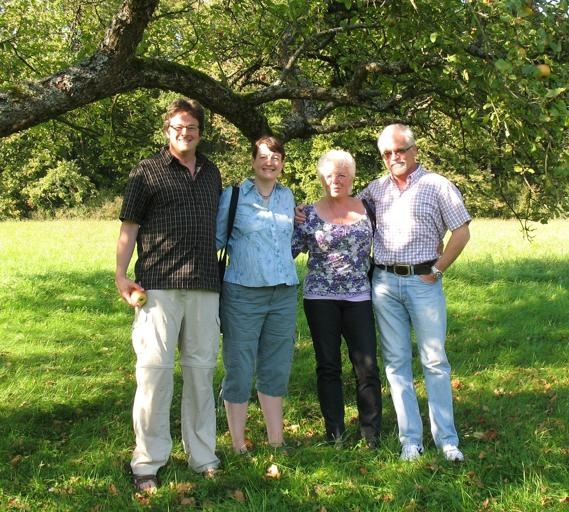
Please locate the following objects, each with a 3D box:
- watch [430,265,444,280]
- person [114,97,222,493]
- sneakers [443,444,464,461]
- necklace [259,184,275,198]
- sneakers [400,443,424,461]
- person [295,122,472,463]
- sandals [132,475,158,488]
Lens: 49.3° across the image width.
[{"bbox_3d":[1.181,0.137,4.820,0.078,0.113,0.115,-20,17,-10],"label":"watch"},{"bbox_3d":[-0.805,0.416,4.535,0.782,2.238,0.313,-3,-1,-18],"label":"person"},{"bbox_3d":[1.263,1.502,4.697,0.156,0.115,0.164,-3,-1,12],"label":"sneakers"},{"bbox_3d":[-0.147,-0.512,4.954,0.086,0.021,0.088,-23,22,1],"label":"necklace"},{"bbox_3d":[0.957,1.492,4.703,0.177,0.113,0.272,-3,-1,10],"label":"sneakers"},{"bbox_3d":[1.045,0.247,4.898,0.842,2.545,0.434,-3,-1,12],"label":"person"},{"bbox_3d":[-0.985,1.603,4.383,0.167,0.074,0.161,-3,-1,-10],"label":"sandals"}]
